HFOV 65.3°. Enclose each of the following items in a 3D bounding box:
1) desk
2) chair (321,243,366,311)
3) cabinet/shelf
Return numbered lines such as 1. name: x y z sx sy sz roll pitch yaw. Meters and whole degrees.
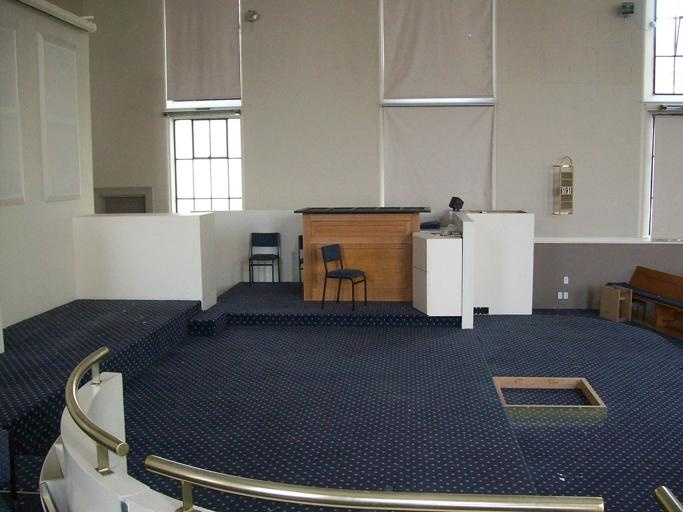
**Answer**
1. desk: 0.221 -0.128 8.604 2.244 1.707 1.322 0 4 4
2. chair: 0.032 0.292 7.743 0.700 0.878 0.704 -2 7 -12
3. cabinet/shelf: 1.533 0.308 8.110 0.877 1.566 1.603 0 4 3
